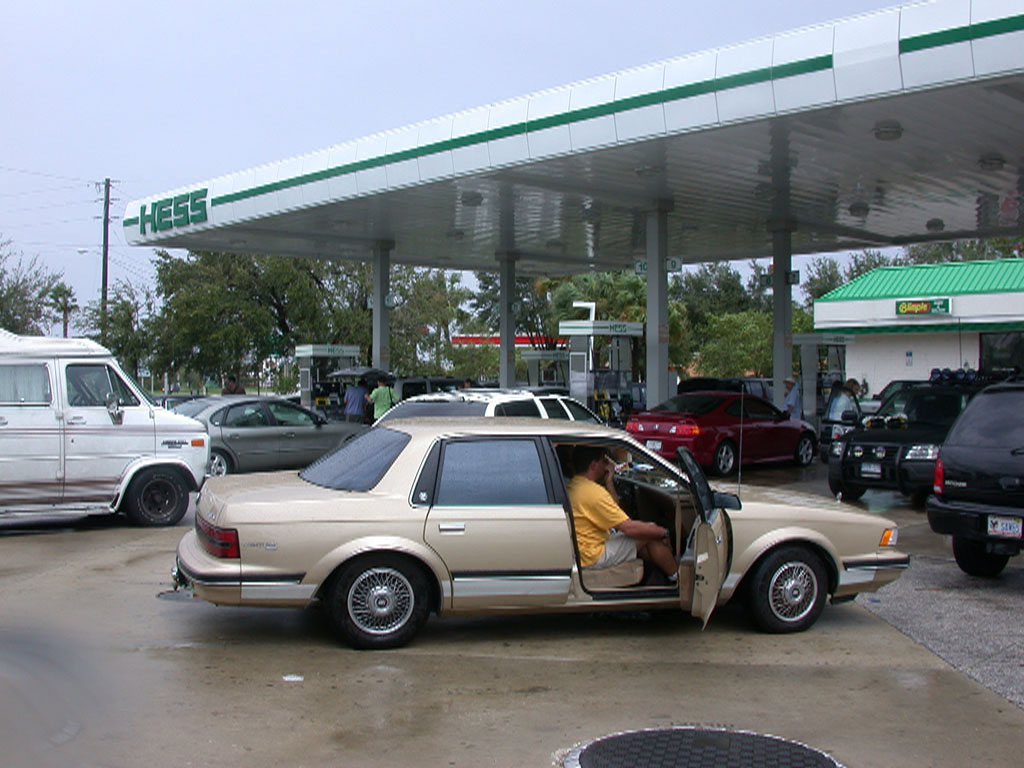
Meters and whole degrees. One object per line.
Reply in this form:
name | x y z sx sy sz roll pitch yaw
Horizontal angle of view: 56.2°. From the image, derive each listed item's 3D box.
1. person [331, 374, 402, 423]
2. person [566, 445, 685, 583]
person | -3.566 0.357 23.573 1.068 1.173 1.051 -2 10 -29
person | 1.010 1.127 8.430 1.078 1.298 0.861 7 -14 -24
